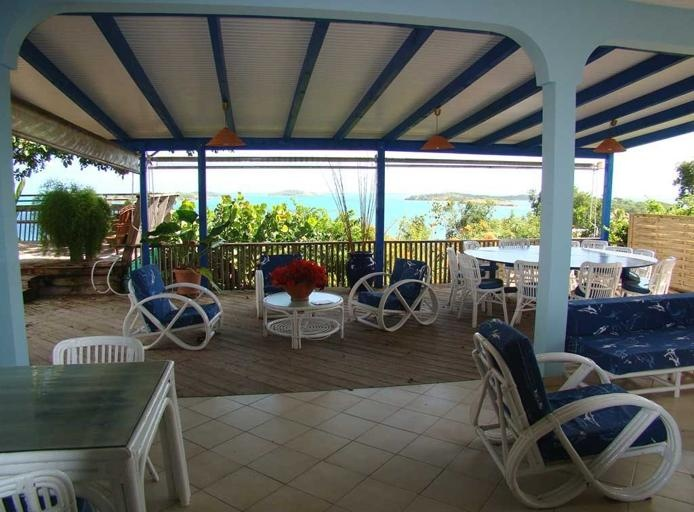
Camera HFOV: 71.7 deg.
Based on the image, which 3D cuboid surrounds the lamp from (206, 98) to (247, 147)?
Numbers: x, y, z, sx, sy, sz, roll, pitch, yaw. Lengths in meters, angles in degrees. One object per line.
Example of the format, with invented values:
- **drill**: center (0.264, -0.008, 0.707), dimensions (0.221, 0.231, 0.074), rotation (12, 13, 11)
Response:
- **lamp**: center (-1.685, -1.841, 6.678), dimensions (0.526, 0.504, 0.536), rotation (19, 25, 37)

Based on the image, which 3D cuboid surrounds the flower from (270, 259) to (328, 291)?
- **flower**: center (-0.561, 0.246, 6.191), dimensions (0.474, 0.274, 0.455), rotation (1, 0, 8)

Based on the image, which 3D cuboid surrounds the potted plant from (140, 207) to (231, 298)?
- **potted plant**: center (-2.880, -0.067, 9.188), dimensions (1.865, 1.461, 1.778), rotation (-3, 7, -24)

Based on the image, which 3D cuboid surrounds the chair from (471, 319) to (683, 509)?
- **chair**: center (1.591, 1.068, 3.516), dimensions (1.216, 1.223, 0.843), rotation (-3, 12, -14)

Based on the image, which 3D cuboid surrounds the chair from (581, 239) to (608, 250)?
- **chair**: center (4.878, -0.222, 9.470), dimensions (0.446, 0.151, 0.339), rotation (5, 4, 43)

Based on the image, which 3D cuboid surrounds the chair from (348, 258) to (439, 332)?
- **chair**: center (0.701, 0.535, 7.055), dimensions (1.168, 0.797, 0.825), rotation (-6, 12, -39)

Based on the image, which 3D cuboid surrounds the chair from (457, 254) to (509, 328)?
- **chair**: center (2.055, 0.496, 7.303), dimensions (0.741, 0.989, 0.654), rotation (0, 7, -3)

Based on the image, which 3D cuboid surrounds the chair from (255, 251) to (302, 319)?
- **chair**: center (-0.955, 0.473, 7.544), dimensions (1.038, 0.935, 1.032), rotation (4, 7, -4)

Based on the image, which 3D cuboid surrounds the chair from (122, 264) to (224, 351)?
- **chair**: center (-2.217, 0.633, 6.214), dimensions (1.147, 0.825, 0.765), rotation (4, 11, 3)

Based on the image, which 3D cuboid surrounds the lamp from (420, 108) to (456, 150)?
- **lamp**: center (1.412, -1.979, 7.507), dimensions (0.592, 0.601, 0.592), rotation (6, 23, 18)

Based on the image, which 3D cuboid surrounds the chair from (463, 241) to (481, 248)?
- **chair**: center (2.292, -0.167, 8.849), dimensions (0.214, 0.240, 0.194), rotation (-1, -1, -5)

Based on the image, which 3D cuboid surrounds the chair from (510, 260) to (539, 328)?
- **chair**: center (2.427, 0.567, 6.673), dimensions (0.436, 0.674, 0.473), rotation (-8, -14, 14)
